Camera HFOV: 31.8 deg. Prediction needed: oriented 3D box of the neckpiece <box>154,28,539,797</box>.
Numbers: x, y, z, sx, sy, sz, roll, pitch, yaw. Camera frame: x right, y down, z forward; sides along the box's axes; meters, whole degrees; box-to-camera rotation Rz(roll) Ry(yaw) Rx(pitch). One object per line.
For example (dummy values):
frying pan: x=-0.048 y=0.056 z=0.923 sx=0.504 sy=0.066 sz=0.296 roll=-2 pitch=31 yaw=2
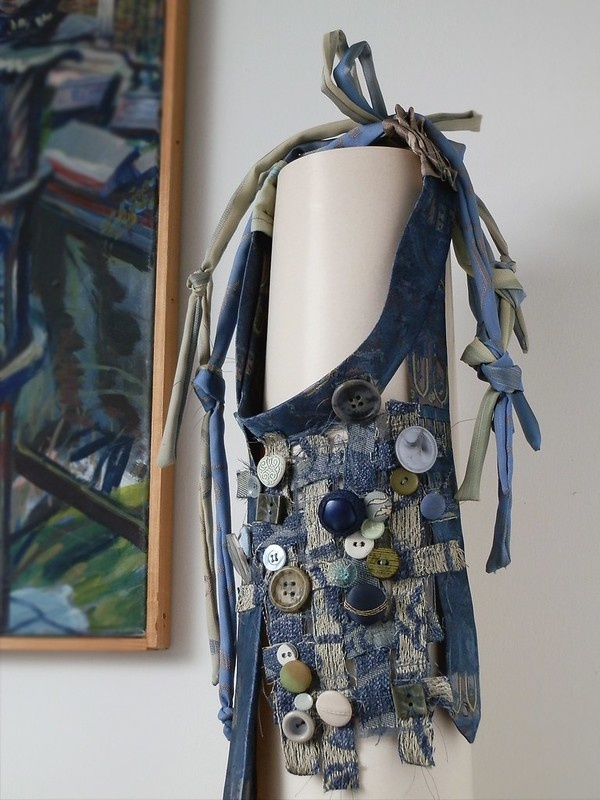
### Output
neckpiece: x=0.043 y=-0.105 z=1.317 sx=0.461 sy=1.114 sz=0.332 roll=-10 pitch=-26 yaw=17
